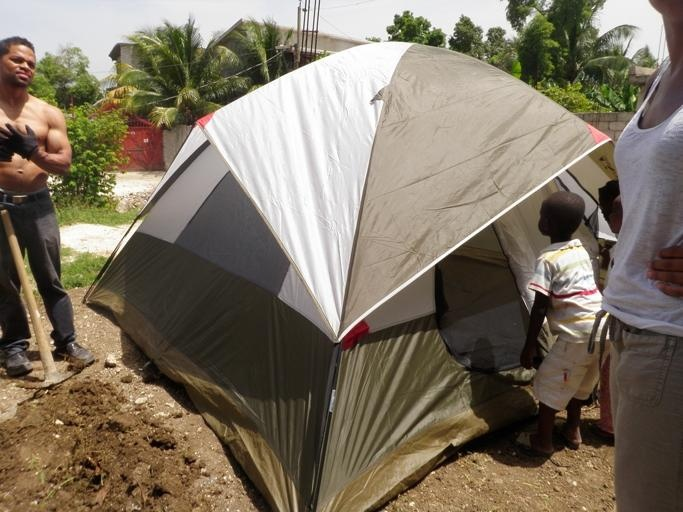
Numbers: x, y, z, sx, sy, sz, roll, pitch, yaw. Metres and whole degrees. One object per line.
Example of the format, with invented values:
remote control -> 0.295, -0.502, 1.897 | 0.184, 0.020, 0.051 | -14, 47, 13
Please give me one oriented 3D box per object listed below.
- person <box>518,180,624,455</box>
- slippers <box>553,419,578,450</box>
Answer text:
person -> 1.501, 0.475, 3.965 | 0.561, 1.695, 0.480 | 12, 19, 26
slippers -> 1.610, 1.235, 4.125 | 0.087, 0.187, 0.247 | 0, 13, -1
